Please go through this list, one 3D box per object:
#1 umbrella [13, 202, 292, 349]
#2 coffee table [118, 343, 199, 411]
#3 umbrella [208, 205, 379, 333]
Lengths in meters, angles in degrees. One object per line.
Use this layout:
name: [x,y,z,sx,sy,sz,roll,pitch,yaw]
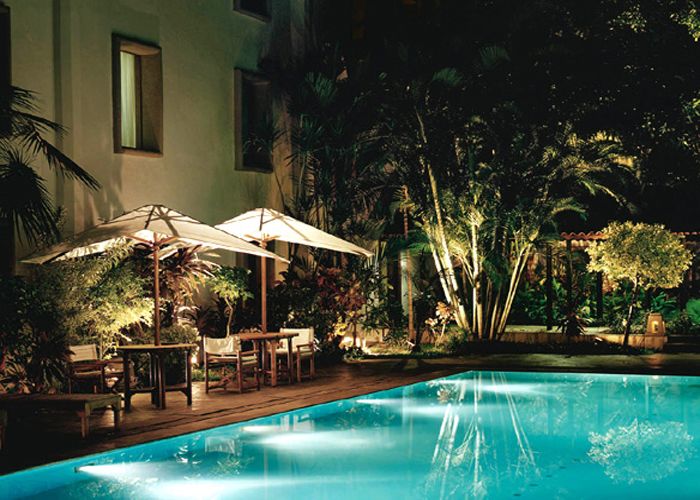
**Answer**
umbrella: [-3.215,0.449,10.947,3.062,2.363,2.319,1,2,21]
coffee table: [-3.048,2.001,10.758,1.196,0.990,1.278,-2,-7,18]
umbrella: [-1.195,0.213,13.935,2.537,1.878,2.721,0,-2,3]
